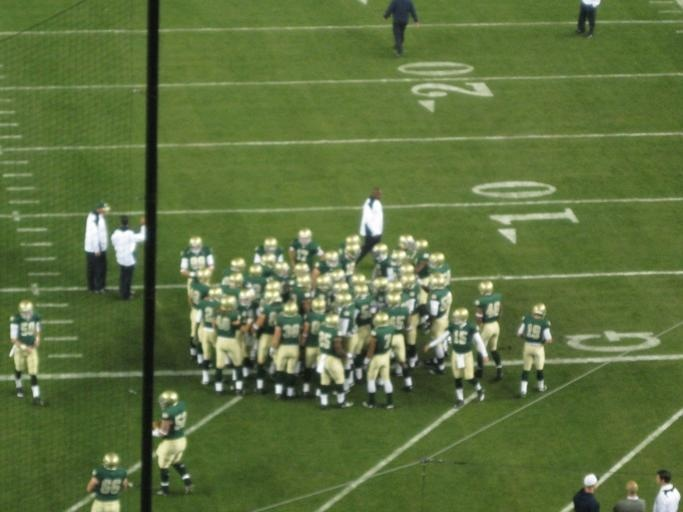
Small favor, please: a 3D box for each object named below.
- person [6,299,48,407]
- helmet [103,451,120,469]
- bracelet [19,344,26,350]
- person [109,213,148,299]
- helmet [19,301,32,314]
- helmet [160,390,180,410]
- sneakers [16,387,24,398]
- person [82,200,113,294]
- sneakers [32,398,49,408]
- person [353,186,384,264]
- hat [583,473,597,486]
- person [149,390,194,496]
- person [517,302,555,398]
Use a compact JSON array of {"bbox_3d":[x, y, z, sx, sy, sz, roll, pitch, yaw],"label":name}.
[{"bbox_3d":[-5.670,1.731,31.321,0.589,1.842,0.486,1,11,-4],"label":"person"},{"bbox_3d":[-3.821,3.395,28.738,0.199,0.216,0.260,-1,15,-26],"label":"helmet"},{"bbox_3d":[-5.718,1.648,31.135,0.129,0.095,0.065,-1,12,-14],"label":"bracelet"},{"bbox_3d":[-4.248,-0.019,34.344,0.624,1.654,0.866,0,12,-7],"label":"person"},{"bbox_3d":[-5.674,0.931,31.208,0.180,0.216,0.227,0,22,-16],"label":"helmet"},{"bbox_3d":[-2.978,2.471,29.655,0.309,0.281,0.255,6,5,14],"label":"helmet"},{"bbox_3d":[-5.848,2.509,31.518,0.155,0.245,0.147,1,-2,-4],"label":"sneakers"},{"bbox_3d":[-4.839,-0.164,34.110,0.420,1.761,0.434,-1,12,-13],"label":"person"},{"bbox_3d":[-5.439,2.675,31.303,0.317,0.248,0.112,2,7,6],"label":"sneakers"},{"bbox_3d":[0.524,-0.541,35.365,0.423,1.517,0.674,-4,50,-10],"label":"person"},{"bbox_3d":[4.109,3.692,28.692,0.156,0.132,0.228,12,46,31],"label":"hat"},{"bbox_3d":[-2.931,3.159,30.041,0.646,1.819,0.950,0,12,-7],"label":"person"},{"bbox_3d":[3.567,1.642,32.393,0.607,1.689,1.518,3,12,7],"label":"person"}]
